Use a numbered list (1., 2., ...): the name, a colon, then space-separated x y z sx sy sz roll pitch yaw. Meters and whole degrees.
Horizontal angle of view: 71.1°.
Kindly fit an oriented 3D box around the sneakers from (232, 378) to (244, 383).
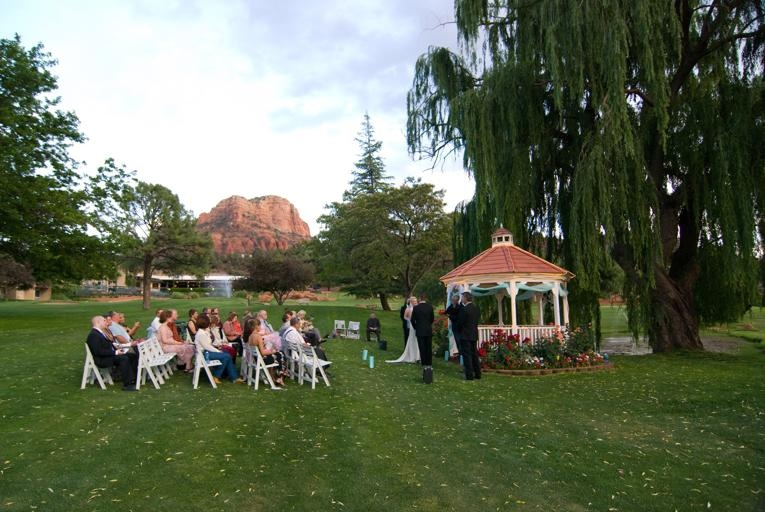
1. sneakers: -4.273 3.646 15.797 0.343 0.153 0.121 -3 5 1

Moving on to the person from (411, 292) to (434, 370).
1. person: 1.346 2.604 18.304 0.763 2.633 0.896 4 8 26

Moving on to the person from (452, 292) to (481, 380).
1. person: 2.759 2.546 17.297 0.802 2.739 1.448 1 7 1
